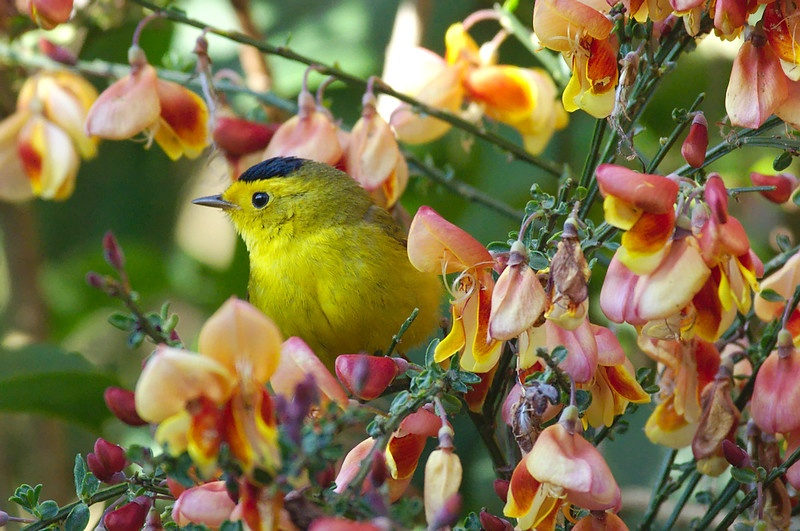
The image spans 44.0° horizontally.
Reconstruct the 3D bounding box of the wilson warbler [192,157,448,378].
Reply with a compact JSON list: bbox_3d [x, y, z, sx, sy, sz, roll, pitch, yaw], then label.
[{"bbox_3d":[-0.183,0.012,3.254,0.818,0.647,0.552,5,-17,1],"label":"wilson warbler"}]
